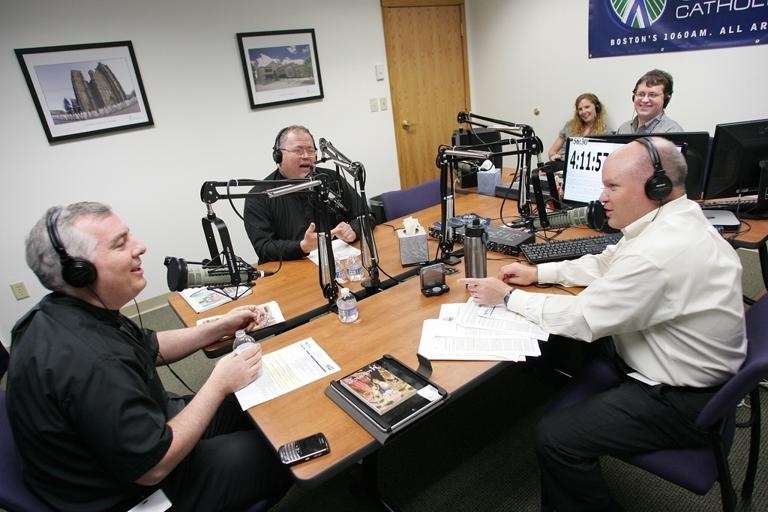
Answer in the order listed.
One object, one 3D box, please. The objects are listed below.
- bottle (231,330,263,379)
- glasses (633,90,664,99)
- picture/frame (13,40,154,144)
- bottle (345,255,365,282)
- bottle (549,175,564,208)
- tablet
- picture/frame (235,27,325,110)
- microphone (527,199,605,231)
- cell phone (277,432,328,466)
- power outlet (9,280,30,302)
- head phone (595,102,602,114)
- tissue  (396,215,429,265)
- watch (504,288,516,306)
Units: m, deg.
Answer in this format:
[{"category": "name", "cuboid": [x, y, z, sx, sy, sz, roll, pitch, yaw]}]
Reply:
[{"category": "bottle", "cuboid": [-0.618, 0.453, 2.149, 0.109, 0.270, 0.113, -2, 37, 1]}, {"category": "glasses", "cuboid": [2.078, -1.273, 3.739, 0.203, 0.056, 0.096, 7, 26, 36]}, {"category": "picture/frame", "cuboid": [-2.502, -1.363, 3.902, 0.781, 0.675, 0.031, -24, 26, -28]}, {"category": "bottle", "cuboid": [-0.164, 0.080, 2.760, 0.118, 0.211, 0.123, -1, 7, 0]}, {"category": "bottle", "cuboid": [1.101, -0.403, 3.050, 0.098, 0.271, 0.187, 2, 7, 22]}, {"category": "tablet", "cuboid": [0.020, 0.567, 1.963, 0.273, 0.067, 0.275, 22, 28, 38]}, {"category": "picture/frame", "cuboid": [-1.053, -1.844, 4.646, 0.766, 0.666, 0.031, -18, 21, -29]}, {"category": "microphone", "cuboid": [0.960, -0.188, 2.534, 0.389, 0.158, 0.159, -7, 27, 41]}, {"category": "cell phone", "cuboid": [-0.306, 0.736, 1.809, 0.155, 0.037, 0.094, -12, 28, -14]}, {"category": "power outlet", "cuboid": [-3.010, 0.284, 3.931, 0.018, 0.181, 0.130, 6, 22, 41]}, {"category": "head phone", "cuboid": [2.178, -1.507, 4.855, 0.069, 0.100, 0.036, -4, 0, -29]}, {"category": "tissue ", "cuboid": [0.173, -0.082, 2.864, 0.193, 0.351, 0.174, -13, 30, -16]}, {"category": "watch", "cuboid": [0.607, 0.201, 2.323, 0.043, 0.077, 0.072, 4, 10, 25]}]
